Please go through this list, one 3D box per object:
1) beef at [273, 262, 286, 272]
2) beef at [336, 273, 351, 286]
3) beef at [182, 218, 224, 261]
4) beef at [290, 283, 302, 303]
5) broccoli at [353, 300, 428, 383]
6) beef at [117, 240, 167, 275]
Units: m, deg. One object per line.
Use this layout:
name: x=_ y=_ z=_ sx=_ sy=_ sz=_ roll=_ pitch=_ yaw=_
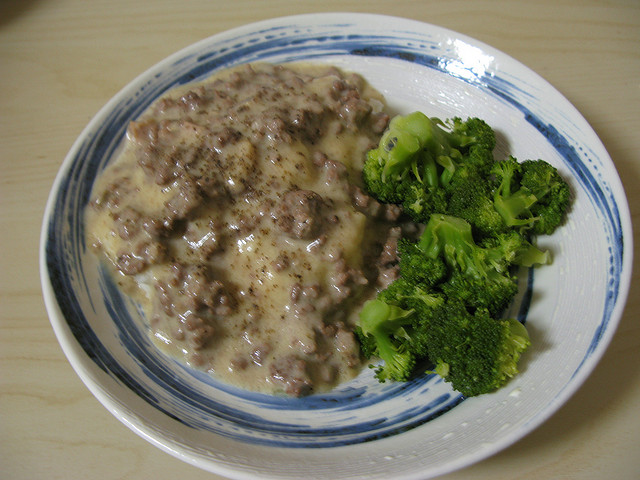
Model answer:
beef: x=-0.259 y=0.174 z=4.268 sx=0.047 sy=0.018 sz=0.051 roll=10 pitch=71 yaw=7
beef: x=0.144 y=0.255 z=4.293 sx=0.085 sy=0.028 sz=0.080 roll=-1 pitch=86 yaw=1
beef: x=-0.747 y=0.002 z=4.302 sx=0.258 sy=0.076 sz=0.255 roll=4 pitch=92 yaw=13
beef: x=-0.154 y=0.338 z=4.251 sx=0.062 sy=0.028 sz=0.107 roll=13 pitch=80 yaw=-8
broccoli: x=0.416 y=0.578 z=4.348 sx=0.555 sy=0.487 sz=0.473 roll=5 pitch=116 yaw=5
beef: x=-1.151 y=0.086 z=4.378 sx=0.371 sy=0.229 sz=0.201 roll=-18 pitch=116 yaw=-36
